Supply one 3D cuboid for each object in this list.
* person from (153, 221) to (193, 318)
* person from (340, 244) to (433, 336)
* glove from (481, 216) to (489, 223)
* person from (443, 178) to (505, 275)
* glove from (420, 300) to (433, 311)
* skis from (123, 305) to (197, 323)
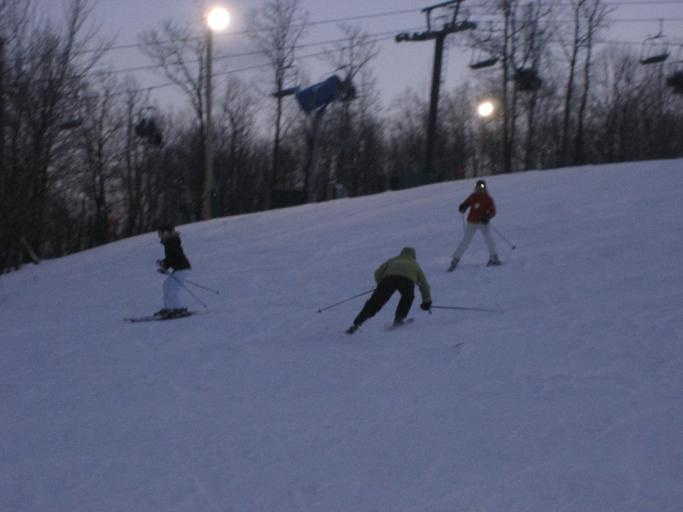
[{"bbox_3d":[-4.070,0.313,19.448,0.784,2.172,0.458,-6,6,-15],"label":"person"},{"bbox_3d":[1.199,1.169,17.931,1.167,2.330,0.650,15,-13,19],"label":"person"},{"bbox_3d":[3.609,-0.899,20.250,0.144,0.182,0.039,-4,-17,21],"label":"glove"},{"bbox_3d":[3.398,-0.656,20.487,1.107,2.635,0.868,-2,-35,15],"label":"person"},{"bbox_3d":[1.852,1.098,17.888,0.186,0.353,0.190,1,0,-1],"label":"glove"},{"bbox_3d":[-4.407,1.426,19.785,1.084,0.240,0.281,-3,12,-7],"label":"skis"}]
